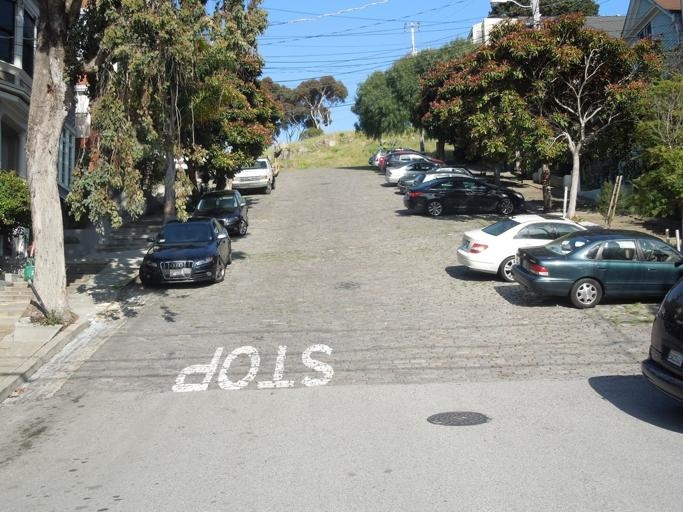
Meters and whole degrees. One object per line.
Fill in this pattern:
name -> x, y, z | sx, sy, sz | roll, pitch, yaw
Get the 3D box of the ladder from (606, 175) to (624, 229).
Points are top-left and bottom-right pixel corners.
ladder -> 11.894, -2.290, 28.707 | 0.409, 3.166, 0.362 | 15, -15, 7

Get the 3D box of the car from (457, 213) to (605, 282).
car -> 5.680, -0.138, 19.482 | 4.202, 1.473, 1.852 | -7, 9, -7

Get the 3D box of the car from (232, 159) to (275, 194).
car -> -5.331, -4.681, 39.587 | 2.079, 2.075, 3.499 | 0, 12, 7
